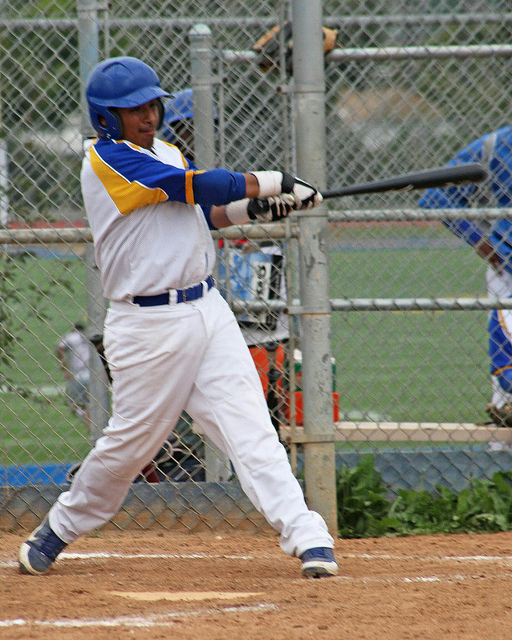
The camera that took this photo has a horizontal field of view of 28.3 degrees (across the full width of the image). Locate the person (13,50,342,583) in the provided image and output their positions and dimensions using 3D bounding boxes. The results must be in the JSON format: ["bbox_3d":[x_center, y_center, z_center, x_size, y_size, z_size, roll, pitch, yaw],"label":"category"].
[{"bbox_3d":[-0.345,-0.005,3.633,1.072,1.471,1.159,-2,1,-18],"label":"person"}]

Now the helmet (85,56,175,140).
[{"bbox_3d":[-0.412,-0.758,3.446,0.240,0.234,0.333,-26,34,-37],"label":"helmet"}]

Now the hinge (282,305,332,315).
[{"bbox_3d":[0.198,-0.037,3.854,0.194,0.028,0.105,-1,0,-10],"label":"hinge"}]
